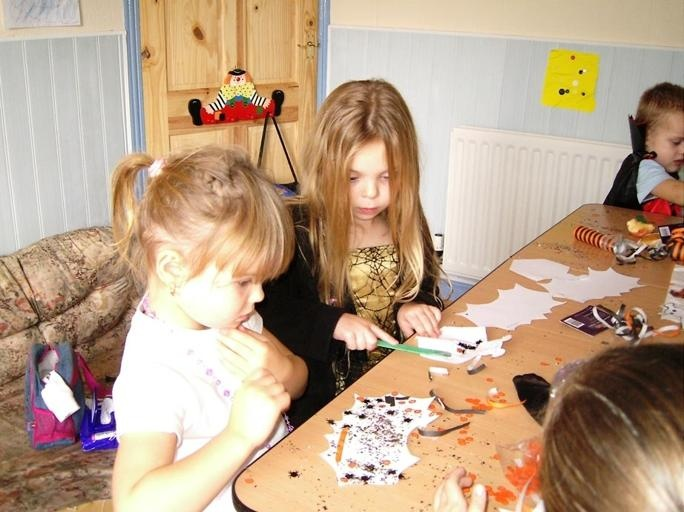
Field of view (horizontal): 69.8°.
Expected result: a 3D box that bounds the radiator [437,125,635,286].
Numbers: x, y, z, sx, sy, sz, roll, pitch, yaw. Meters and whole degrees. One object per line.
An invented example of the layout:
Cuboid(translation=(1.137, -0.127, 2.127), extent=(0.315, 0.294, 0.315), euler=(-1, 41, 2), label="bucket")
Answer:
Cuboid(translation=(0.950, -0.295, 2.363), extent=(0.873, 0.668, 0.089), euler=(14, 21, 26), label="radiator")

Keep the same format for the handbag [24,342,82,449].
Cuboid(translation=(-0.905, 0.432, 1.521), extent=(0.167, 0.272, 0.239), euler=(-11, 23, -28), label="handbag")

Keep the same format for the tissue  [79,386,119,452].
Cuboid(translation=(-0.719, 0.521, 1.566), extent=(0.194, 0.076, 0.155), euler=(0, 55, -19), label="tissue ")
